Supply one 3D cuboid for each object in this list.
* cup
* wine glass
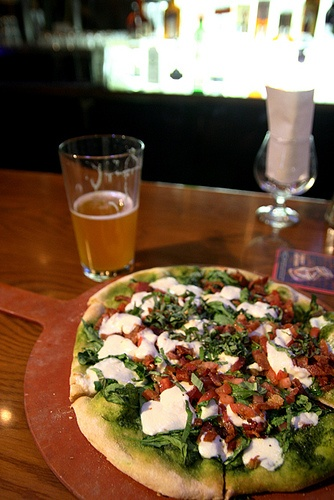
[{"bbox_3d":[-0.153,-0.113,0.980,0.185,0.298,0.253,2,31,-1],"label":"cup"},{"bbox_3d":[0.373,-0.240,1.269,0.181,0.285,0.176,12,-11,-19],"label":"wine glass"}]
